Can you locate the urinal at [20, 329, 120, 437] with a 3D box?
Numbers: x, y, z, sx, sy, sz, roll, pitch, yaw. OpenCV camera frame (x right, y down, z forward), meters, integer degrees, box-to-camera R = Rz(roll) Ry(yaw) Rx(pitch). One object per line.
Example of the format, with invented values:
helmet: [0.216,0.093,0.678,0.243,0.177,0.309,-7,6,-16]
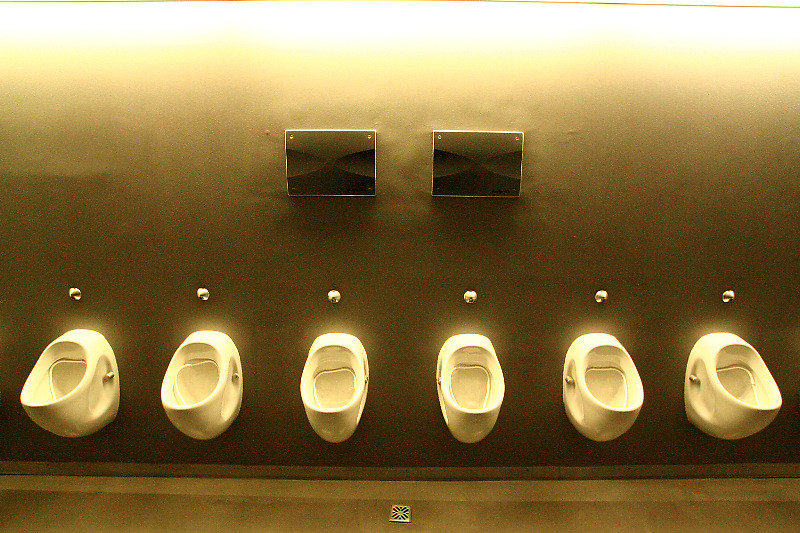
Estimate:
urinal: [-2.499,0.894,5.736,0.621,0.471,0.871,2,-59,1]

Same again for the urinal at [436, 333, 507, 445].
urinal: [0.538,0.930,5.743,0.519,0.622,0.805,-1,-96,5]

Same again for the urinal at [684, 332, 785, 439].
urinal: [2.512,0.899,5.776,0.797,0.752,0.795,1,-84,-20]

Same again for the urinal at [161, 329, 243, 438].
urinal: [-1.530,0.875,5.787,0.577,0.471,0.803,1,-94,2]
